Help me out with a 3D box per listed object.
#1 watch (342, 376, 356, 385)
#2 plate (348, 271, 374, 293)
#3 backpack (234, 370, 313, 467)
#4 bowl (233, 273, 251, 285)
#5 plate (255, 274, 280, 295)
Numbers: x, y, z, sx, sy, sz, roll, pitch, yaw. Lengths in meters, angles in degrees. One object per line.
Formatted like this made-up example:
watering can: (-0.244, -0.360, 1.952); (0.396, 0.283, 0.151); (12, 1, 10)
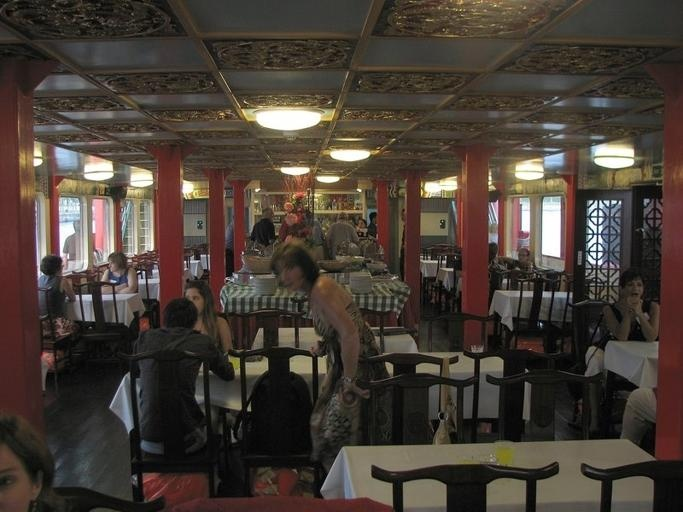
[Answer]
watch: (0.040, 0.717, 3.327); (0.059, 0.035, 0.071); (0, -2, 0)
plate: (0.201, 0.286, 5.936); (0.341, 0.165, 0.217); (3, -6, -6)
backpack: (-0.361, 0.924, 3.479); (0.507, 0.498, 0.507); (2, 9, 5)
bowl: (-1.153, 0.264, 6.704); (0.175, 0.155, 0.159); (0, 1, 5)
plate: (-0.762, 0.299, 5.844); (0.201, 0.125, 0.189); (0, 4, -8)
